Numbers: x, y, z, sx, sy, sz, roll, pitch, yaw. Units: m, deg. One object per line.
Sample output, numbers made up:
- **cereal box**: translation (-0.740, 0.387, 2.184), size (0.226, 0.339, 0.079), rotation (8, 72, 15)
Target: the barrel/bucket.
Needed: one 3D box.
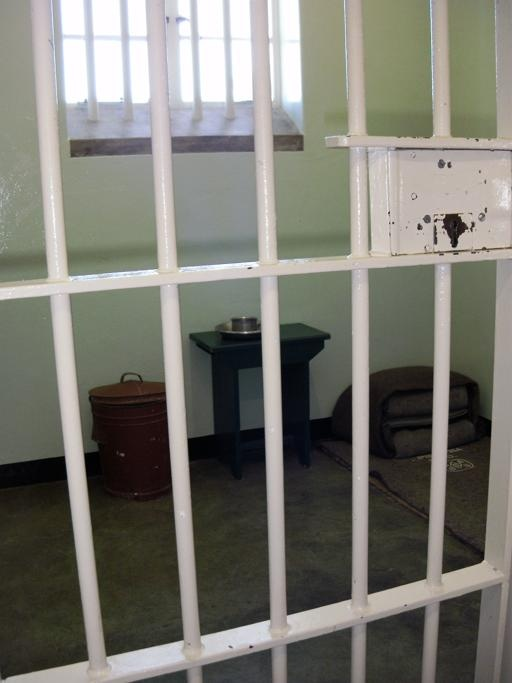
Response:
- **barrel/bucket**: translation (-0.485, 0.357, 2.561), size (0.283, 0.476, 0.346), rotation (6, 19, 24)

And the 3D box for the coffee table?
- **coffee table**: translation (0.042, 0.244, 2.798), size (0.552, 0.585, 0.376), rotation (-6, 13, -22)
